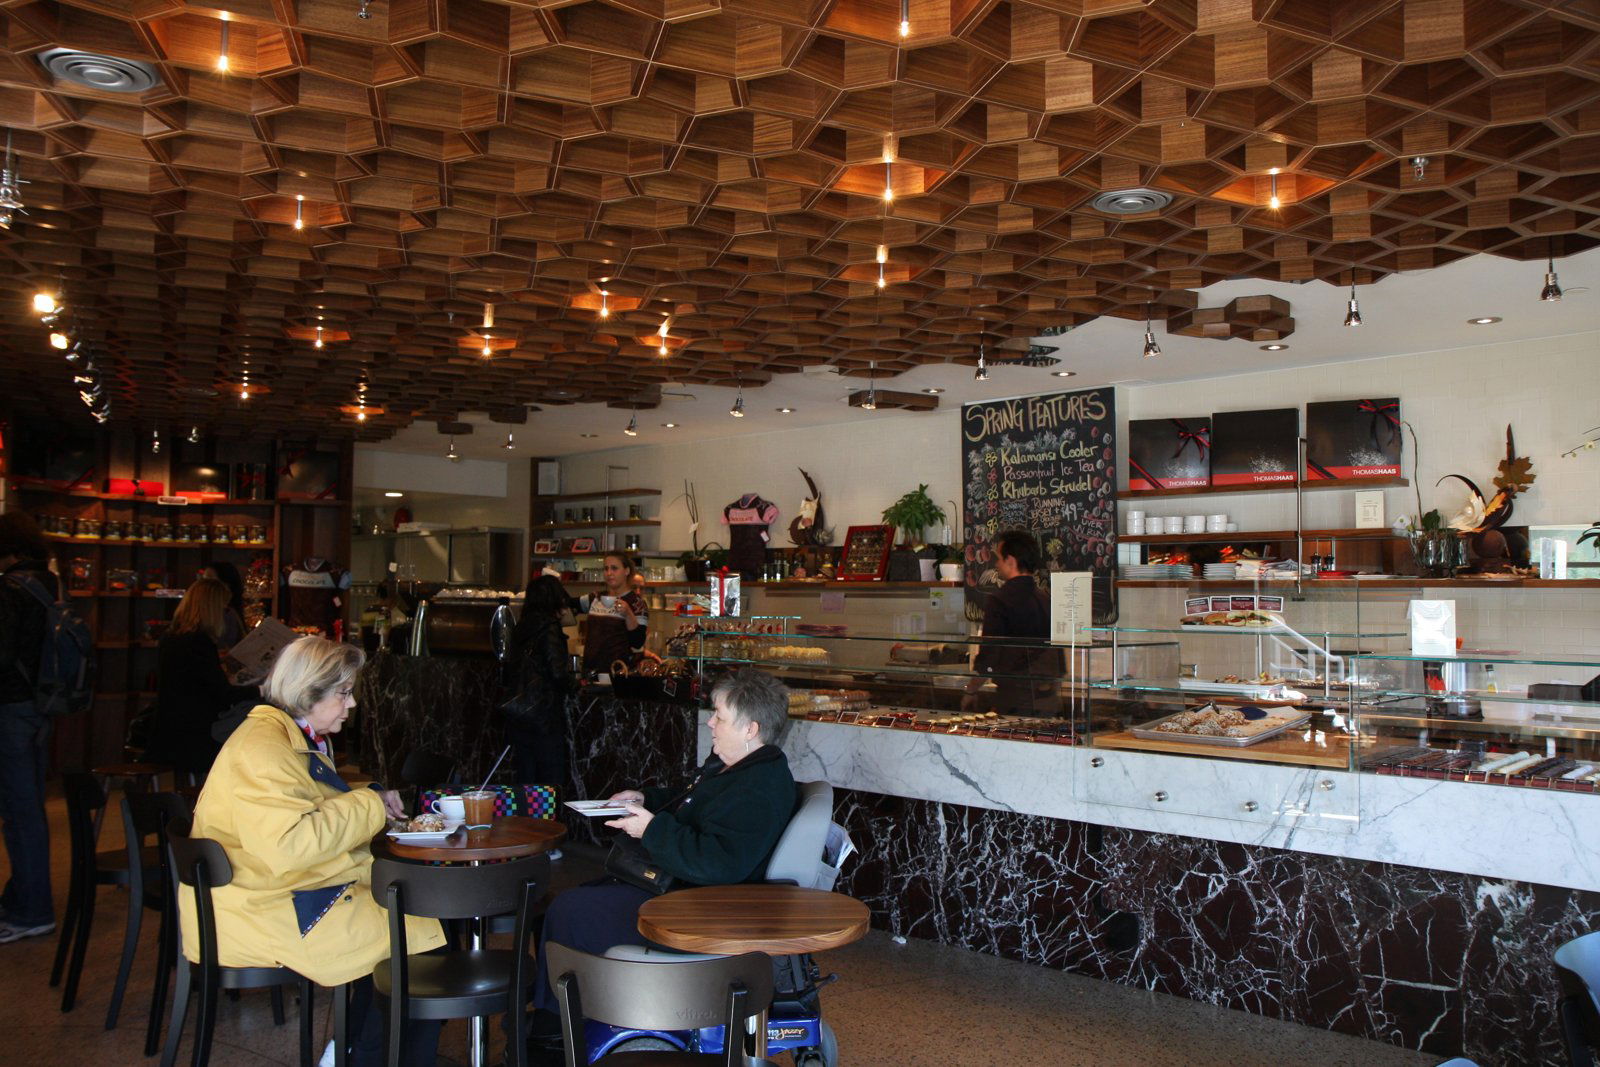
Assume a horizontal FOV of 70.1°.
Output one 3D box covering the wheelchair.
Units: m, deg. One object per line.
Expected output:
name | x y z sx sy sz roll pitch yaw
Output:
wheelchair | -0.291 1.607 4.668 1.360 1.075 1.092 2 -19 0

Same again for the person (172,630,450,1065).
person | -1.972 1.276 4.491 1.072 1.718 0.580 1 -3 -4

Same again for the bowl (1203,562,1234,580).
bowl | 3.127 0.285 8.497 0.266 0.141 0.239 0 0 17

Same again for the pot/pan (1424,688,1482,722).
pot/pan | 2.828 0.746 4.914 0.258 0.121 0.101 0 -3 7

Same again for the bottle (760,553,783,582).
bottle | -0.276 0.330 11.639 0.217 0.312 0.403 1 -3 -5

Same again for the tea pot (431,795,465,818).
tea pot | -1.539 1.189 4.949 0.135 0.067 0.085 0 3 -4

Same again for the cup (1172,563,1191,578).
cup | 2.782 0.274 8.306 0.116 0.066 0.113 0 2 0

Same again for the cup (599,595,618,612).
cup | -1.418 0.523 8.481 0.205 0.109 0.099 1 3 6

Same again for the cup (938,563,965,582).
cup | 1.373 0.365 10.350 0.195 0.113 0.174 1 2 5

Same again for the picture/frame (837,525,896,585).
picture/frame | 0.667 0.229 10.939 0.590 0.537 0.165 1 -19 38

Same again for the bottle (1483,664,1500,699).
bottle | 2.961 0.628 4.878 0.053 0.136 0.171 -2 -4 30

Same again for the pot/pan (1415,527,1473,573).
pot/pan | 4.365 0.123 7.736 0.356 0.272 0.302 0 3 3

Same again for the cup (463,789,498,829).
cup | -1.391 1.191 4.916 0.160 0.136 0.149 1 -1 0

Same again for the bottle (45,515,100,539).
bottle | -7.081 -0.038 11.075 0.212 0.207 0.351 3 -5 -14

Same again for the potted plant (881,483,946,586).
potted plant | 1.065 0.001 10.667 0.577 0.886 0.245 0 -4 11
